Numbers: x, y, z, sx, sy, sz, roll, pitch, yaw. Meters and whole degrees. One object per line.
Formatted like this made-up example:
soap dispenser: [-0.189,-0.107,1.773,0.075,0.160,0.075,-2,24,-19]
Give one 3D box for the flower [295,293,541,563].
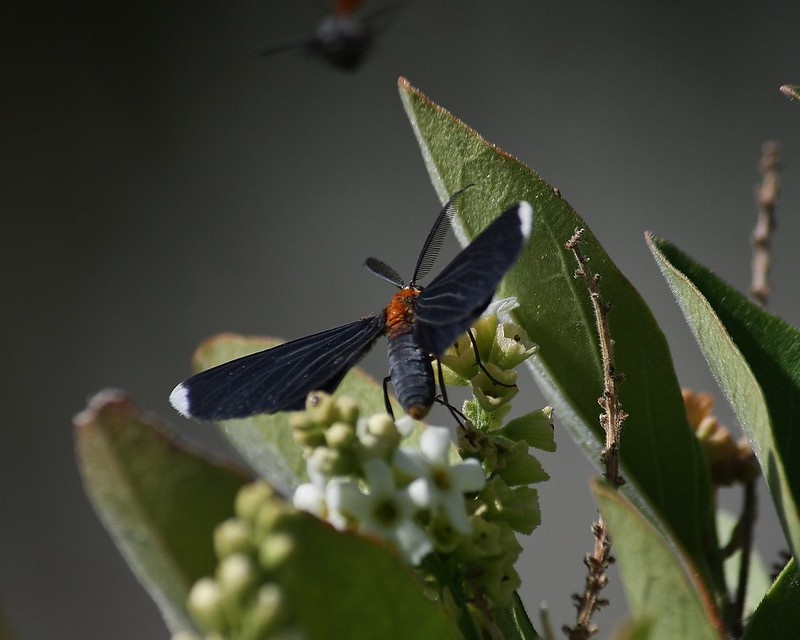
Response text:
flower: [0.015,0.062,0.901,0.101,0.186,0.148,-16,-71,-5]
